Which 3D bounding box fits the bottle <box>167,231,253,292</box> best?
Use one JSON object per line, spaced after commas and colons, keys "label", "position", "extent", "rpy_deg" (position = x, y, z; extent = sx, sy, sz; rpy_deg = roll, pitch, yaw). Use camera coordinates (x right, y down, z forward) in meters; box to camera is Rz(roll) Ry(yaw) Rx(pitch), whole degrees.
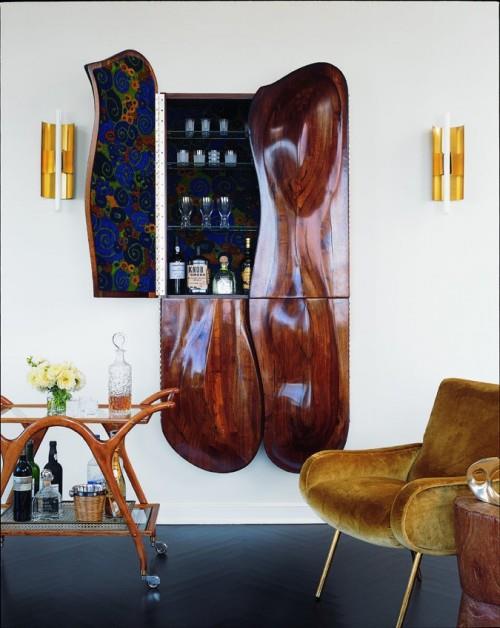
{"label": "bottle", "position": [-0.222, -0.285, 3.738], "extent": [0.297, 0.296, 0.073], "rpy_deg": [1, -2, -11]}

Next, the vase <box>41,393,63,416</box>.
{"label": "vase", "position": [-0.850, 0.388, 2.988], "extent": [0.082, 0.136, 0.079], "rpy_deg": [1, -3, -38]}

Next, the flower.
{"label": "flower", "position": [-0.832, 0.275, 3.008], "extent": [0.214, 0.241, 0.225], "rpy_deg": [0, 0, 14]}

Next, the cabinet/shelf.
{"label": "cabinet/shelf", "position": [-0.210, -0.521, 3.637], "extent": [0.468, 1.012, 0.288], "rpy_deg": [0, -17, -2]}

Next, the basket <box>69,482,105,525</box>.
{"label": "basket", "position": [-0.672, 0.790, 2.895], "extent": [0.128, 0.119, 0.150], "rpy_deg": [2, -7, -10]}
